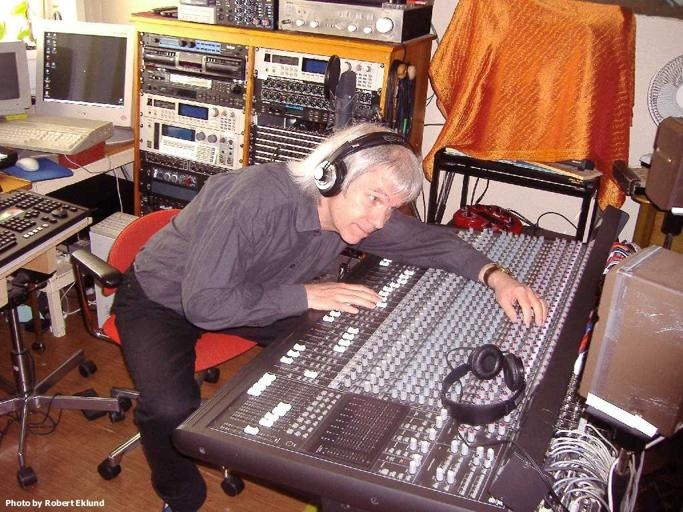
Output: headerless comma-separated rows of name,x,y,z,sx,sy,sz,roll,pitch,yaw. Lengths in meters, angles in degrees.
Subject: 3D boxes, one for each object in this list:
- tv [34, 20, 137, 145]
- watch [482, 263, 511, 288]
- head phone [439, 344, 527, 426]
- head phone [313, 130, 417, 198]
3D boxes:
tv,-1.684,-1.136,3.488,0.717,0.834,0.412,10,20,-5
watch,0.520,0.057,1.816,0.079,0.073,0.027,-34,-4,28
head phone,0.350,0.305,1.331,0.189,0.153,0.195,10,19,22
head phone,0.079,-0.303,1.789,0.262,0.234,0.098,-6,52,-35
